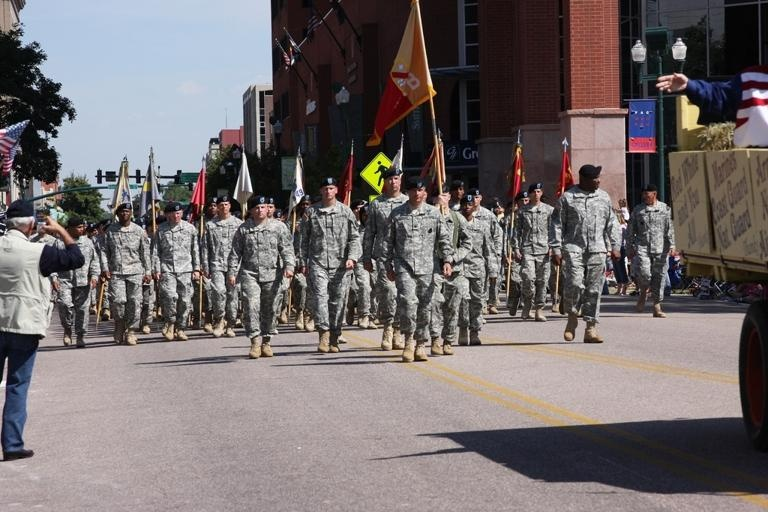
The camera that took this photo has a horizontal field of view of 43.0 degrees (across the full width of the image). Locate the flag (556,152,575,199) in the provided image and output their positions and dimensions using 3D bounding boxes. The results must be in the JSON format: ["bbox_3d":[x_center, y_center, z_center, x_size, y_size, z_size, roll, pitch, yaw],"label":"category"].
[{"bbox_3d":[4.718,-2.203,25.575,0.483,1.874,0.363,-13,43,-5],"label":"flag"}]

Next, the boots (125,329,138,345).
[{"bbox_3d":[-5.136,1.658,19.665,0.162,0.288,0.468,3,-7,-18],"label":"boots"}]

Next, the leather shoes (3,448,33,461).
[{"bbox_3d":[-3.731,2.021,9.909,0.287,0.120,0.124,-5,8,-25],"label":"leather shoes"}]

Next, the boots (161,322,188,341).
[{"bbox_3d":[-4.431,1.616,20.220,0.263,0.343,0.779,2,-11,-25],"label":"boots"}]

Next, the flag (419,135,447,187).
[{"bbox_3d":[1.056,-1.970,20.296,0.542,1.365,0.197,9,43,16],"label":"flag"}]

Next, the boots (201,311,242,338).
[{"bbox_3d":[-3.536,1.573,21.238,0.383,0.799,1.094,4,-12,-31],"label":"boots"}]

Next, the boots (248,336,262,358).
[{"bbox_3d":[-2.145,1.485,16.124,0.203,0.355,0.567,-1,2,-5],"label":"boots"}]

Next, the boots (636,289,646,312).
[{"bbox_3d":[5.765,1.023,21.941,0.180,0.523,0.380,-1,24,2],"label":"boots"}]

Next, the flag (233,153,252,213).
[{"bbox_3d":[-3.790,-2.009,25.812,0.360,1.103,0.235,-10,9,-41],"label":"flag"}]

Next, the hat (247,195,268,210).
[{"bbox_3d":[-2.159,-0.903,16.422,0.271,0.178,0.351,-5,-6,-33],"label":"hat"}]

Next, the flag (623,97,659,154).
[{"bbox_3d":[7.458,-3.783,28.310,0.750,1.516,0.890,-1,1,11],"label":"flag"}]

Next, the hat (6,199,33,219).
[{"bbox_3d":[-3.816,-0.484,10.194,0.188,0.142,0.264,1,13,4],"label":"hat"}]

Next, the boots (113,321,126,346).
[{"bbox_3d":[-5.367,1.532,19.727,0.189,0.552,0.237,-2,9,-17],"label":"boots"}]

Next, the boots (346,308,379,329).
[{"bbox_3d":[-0.398,1.382,21.130,0.317,0.610,0.910,2,-7,-29],"label":"boots"}]
